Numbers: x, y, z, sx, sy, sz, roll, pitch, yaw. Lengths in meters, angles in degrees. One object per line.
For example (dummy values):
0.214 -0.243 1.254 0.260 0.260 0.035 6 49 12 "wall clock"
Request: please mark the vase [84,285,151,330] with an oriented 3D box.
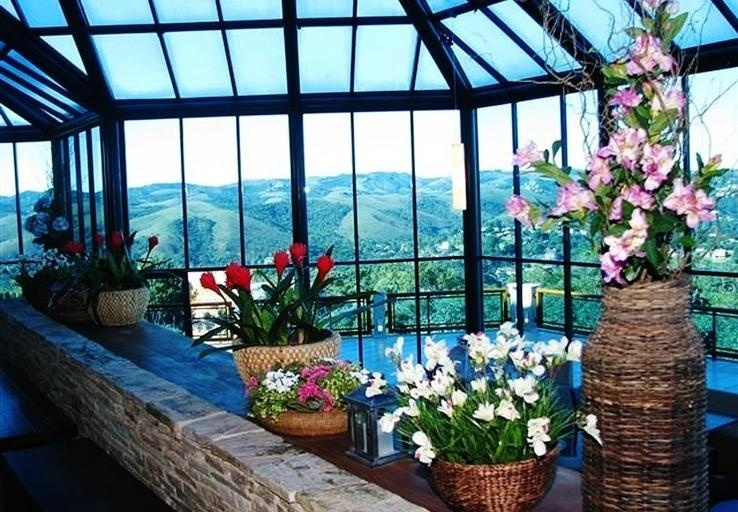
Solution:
-2.060 0.439 4.347 0.422 0.252 0.399 -1 -2 -29 "vase"
